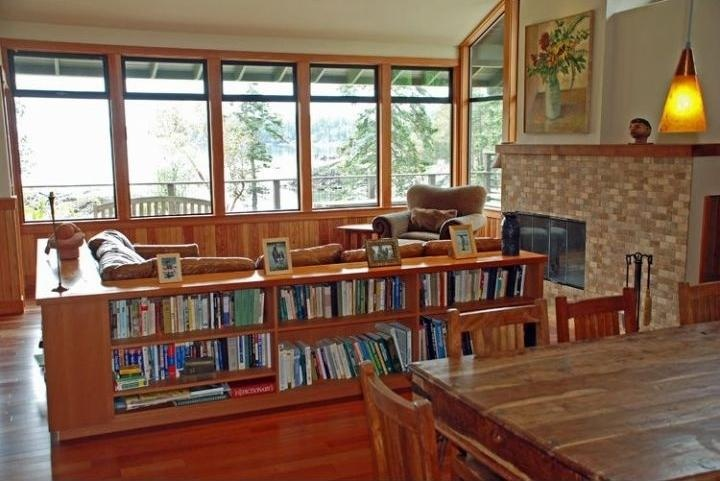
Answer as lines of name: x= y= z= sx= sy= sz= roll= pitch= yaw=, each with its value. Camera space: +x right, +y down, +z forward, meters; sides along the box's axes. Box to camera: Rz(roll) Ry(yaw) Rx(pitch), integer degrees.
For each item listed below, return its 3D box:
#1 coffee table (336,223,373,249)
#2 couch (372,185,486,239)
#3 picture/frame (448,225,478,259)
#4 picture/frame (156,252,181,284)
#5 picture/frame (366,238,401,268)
coffee table: x=-0.049 y=-0.084 z=8.803 sx=0.461 sy=0.412 sz=0.446 roll=-1 pitch=3 yaw=-10
couch: x=1.090 y=-0.465 z=8.200 sx=1.300 sy=1.186 sz=1.047 roll=0 pitch=-1 yaw=37
picture/frame: x=0.921 y=0.022 z=4.923 sx=0.297 sy=0.353 sz=0.210 roll=-7 pitch=7 yaw=-20
picture/frame: x=-1.503 y=0.218 z=4.314 sx=0.178 sy=0.221 sz=0.206 roll=-6 pitch=7 yaw=-18
picture/frame: x=0.194 y=0.121 z=4.661 sx=0.256 sy=0.207 sz=0.026 roll=-2 pitch=-13 yaw=-17
